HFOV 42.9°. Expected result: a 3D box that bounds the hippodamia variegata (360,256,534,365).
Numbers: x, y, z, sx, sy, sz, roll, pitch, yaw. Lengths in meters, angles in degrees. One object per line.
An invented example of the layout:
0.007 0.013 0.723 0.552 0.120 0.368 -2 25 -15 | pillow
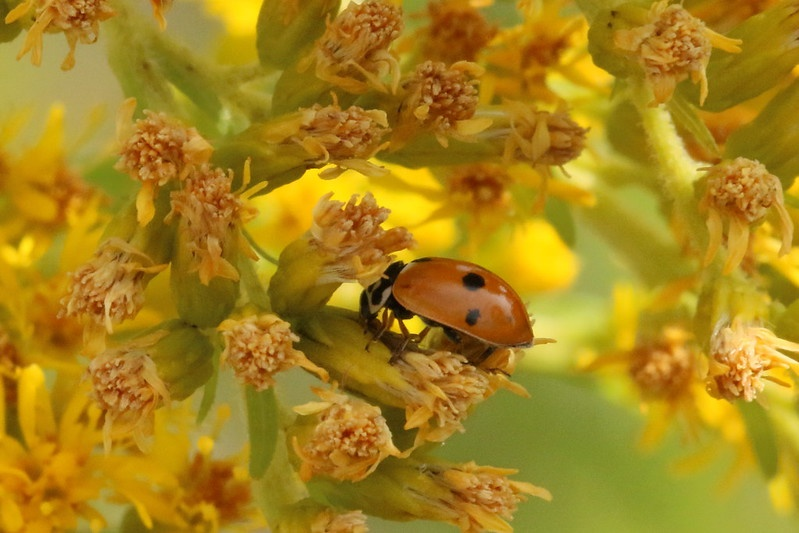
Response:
0.090 0.078 1.813 0.302 0.243 0.184 14 99 27 | hippodamia variegata
